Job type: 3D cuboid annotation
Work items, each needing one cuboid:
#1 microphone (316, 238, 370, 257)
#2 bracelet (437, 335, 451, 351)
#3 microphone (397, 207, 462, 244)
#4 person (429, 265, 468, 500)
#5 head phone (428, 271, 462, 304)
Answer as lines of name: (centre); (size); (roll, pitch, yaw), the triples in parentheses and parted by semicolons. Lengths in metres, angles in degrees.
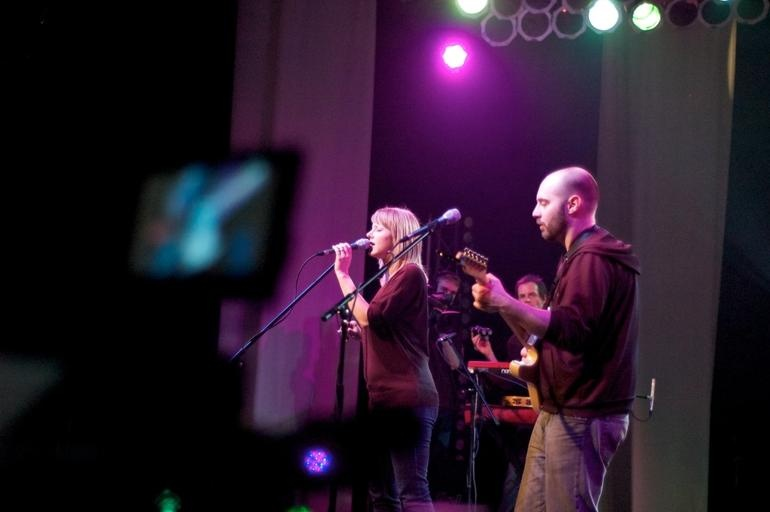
microphone: (-0.362, -0.076, 5.321); (0.427, 0.108, 0.106); (-7, 2, -28)
bracelet: (0.529, 0.770, 5.828); (0.091, 0.167, 0.151); (5, -1, -1)
microphone: (0.359, -0.264, 5.426); (0.471, 0.113, 0.111); (-32, -33, -11)
person: (0.570, 1.138, 5.778); (0.540, 1.611, 0.162); (0, -2, -11)
head phone: (0.536, 0.306, 6.094); (0.213, 0.290, 0.290); (21, -15, 5)
